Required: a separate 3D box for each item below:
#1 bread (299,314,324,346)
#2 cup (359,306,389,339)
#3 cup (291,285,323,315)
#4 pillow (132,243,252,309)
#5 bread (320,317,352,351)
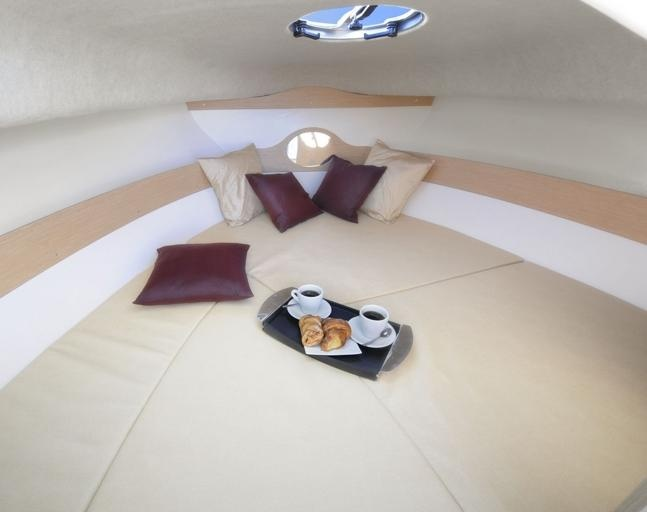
[{"bbox_3d":[-0.045,0.278,1.542,0.074,0.045,0.110,-2,27,-3],"label":"bread"},{"bbox_3d":[0.172,0.253,1.565,0.088,0.074,0.096,11,1,0],"label":"cup"},{"bbox_3d":[-0.060,0.161,1.675,0.131,0.090,0.103,17,34,28],"label":"cup"},{"bbox_3d":[-0.584,0.072,1.981,0.502,0.160,0.413,6,29,-10],"label":"pillow"},{"bbox_3d":[0.045,0.297,1.548,0.104,0.081,0.108,11,29,0],"label":"bread"}]
